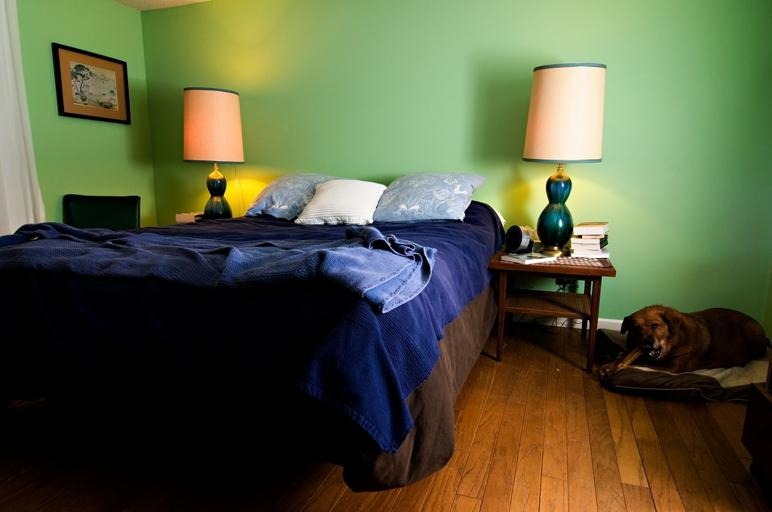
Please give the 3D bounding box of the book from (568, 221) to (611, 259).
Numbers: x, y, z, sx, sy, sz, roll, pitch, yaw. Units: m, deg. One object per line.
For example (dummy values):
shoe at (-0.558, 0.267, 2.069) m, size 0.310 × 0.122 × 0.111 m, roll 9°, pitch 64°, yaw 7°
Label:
book at (1.346, -0.112, 3.579) m, size 0.294 × 0.199 × 0.214 m, roll -6°, pitch 9°, yaw -25°

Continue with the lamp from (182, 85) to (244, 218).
lamp at (-1.378, -0.846, 4.377) m, size 0.485 × 1.035 × 0.306 m, roll -11°, pitch 17°, yaw -30°

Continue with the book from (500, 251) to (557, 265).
book at (0.933, 0.011, 3.442) m, size 0.378 × 0.051 × 0.184 m, roll -3°, pitch 14°, yaw -4°

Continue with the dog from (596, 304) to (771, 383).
dog at (1.891, 0.464, 3.265) m, size 0.766 × 0.315 × 0.506 m, roll 0°, pitch -5°, yaw -17°

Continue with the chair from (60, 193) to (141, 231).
chair at (-2.326, -0.353, 4.421) m, size 0.487 × 0.481 × 0.473 m, roll 1°, pitch 4°, yaw -9°

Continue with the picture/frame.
picture/frame at (-2.464, -1.436, 4.423) m, size 0.036 × 0.649 × 0.754 m, roll 5°, pitch 8°, yaw 31°

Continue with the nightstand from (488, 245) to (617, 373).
nightstand at (1.087, 0.237, 3.531) m, size 0.780 × 0.704 × 0.805 m, roll 2°, pitch 4°, yaw 15°

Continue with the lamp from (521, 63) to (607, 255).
lamp at (1.191, -0.640, 3.535) m, size 0.499 × 1.219 × 0.320 m, roll -7°, pitch 15°, yaw -19°
